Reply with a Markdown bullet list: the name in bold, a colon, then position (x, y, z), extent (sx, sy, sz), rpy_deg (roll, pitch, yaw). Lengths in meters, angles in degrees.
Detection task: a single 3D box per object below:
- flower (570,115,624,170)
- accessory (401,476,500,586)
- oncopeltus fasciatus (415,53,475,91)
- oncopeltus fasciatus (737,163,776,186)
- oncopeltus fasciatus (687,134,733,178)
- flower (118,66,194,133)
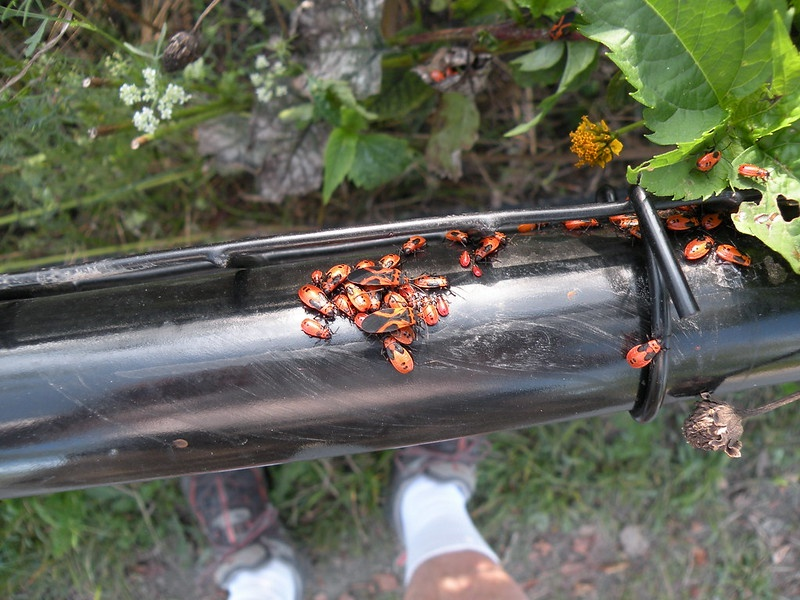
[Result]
- **flower**: position (0.694, -0.548, 2.489), extent (0.143, 0.172, 0.153), rpy_deg (-15, 102, -40)
- **accessory**: position (0.152, 0.850, 2.725), extent (0.340, 0.229, 0.341), rpy_deg (-13, 78, -4)
- **oncopeltus fasciatus**: position (0.166, -0.799, 2.524), extent (0.204, 0.143, 0.128), rpy_deg (3, 78, 0)
- **oncopeltus fasciatus**: position (1.068, -0.377, 2.136), extent (0.076, 0.024, 0.059), rpy_deg (13, 100, -9)
- **oncopeltus fasciatus**: position (0.941, -0.438, 2.175), extent (0.134, 0.037, 0.104), rpy_deg (-43, 108, -19)
- **flower**: position (-0.833, -0.675, 2.560), extent (0.255, 0.130, 0.267), rpy_deg (14, 96, 18)
